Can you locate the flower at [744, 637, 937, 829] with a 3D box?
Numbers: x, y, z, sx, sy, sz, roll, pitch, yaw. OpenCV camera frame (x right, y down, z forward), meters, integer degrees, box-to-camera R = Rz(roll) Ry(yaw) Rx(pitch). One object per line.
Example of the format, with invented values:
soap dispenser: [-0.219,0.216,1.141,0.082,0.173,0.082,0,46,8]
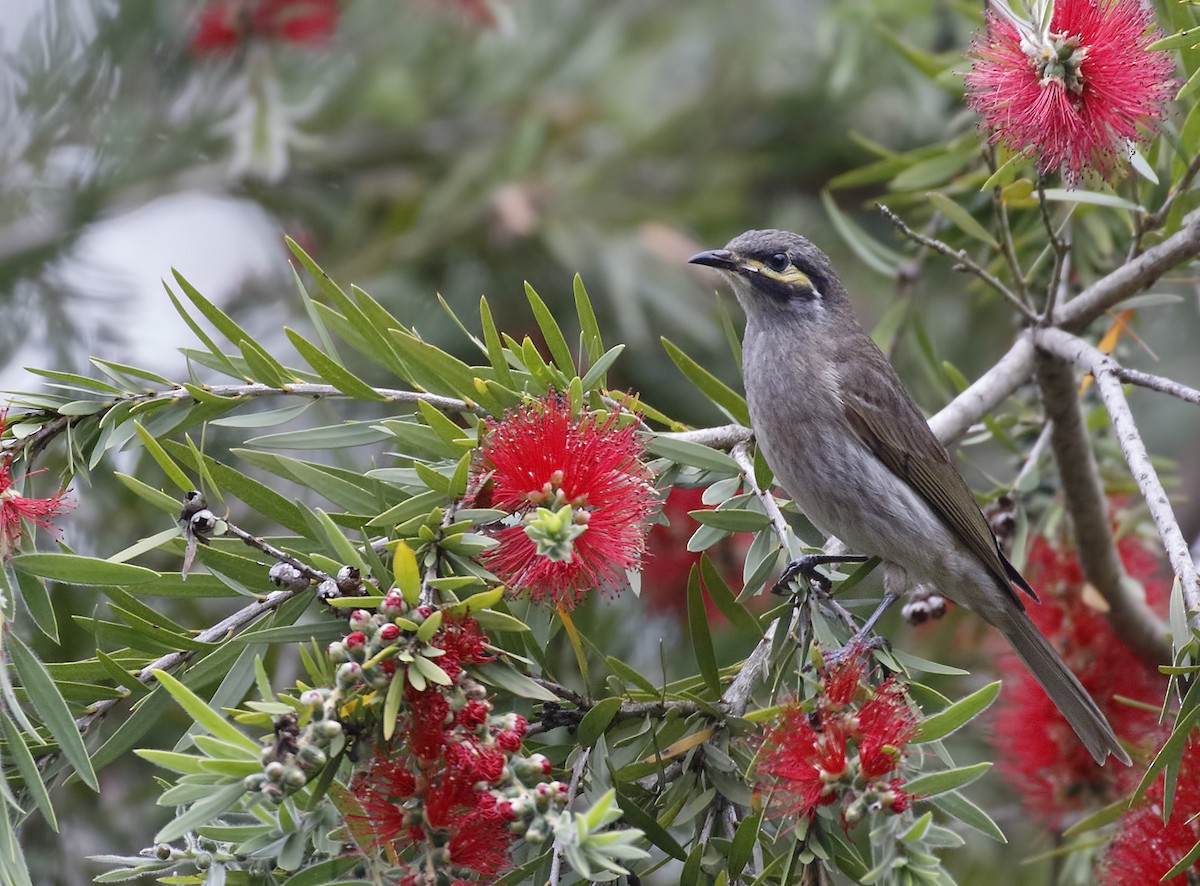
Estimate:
flower: [0.622,0.832,3.844,0.371,0.444,0.397,-37,91,-25]
